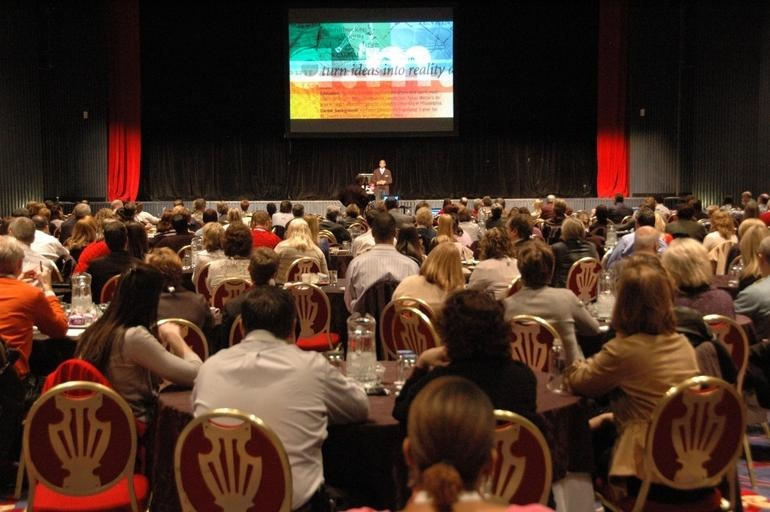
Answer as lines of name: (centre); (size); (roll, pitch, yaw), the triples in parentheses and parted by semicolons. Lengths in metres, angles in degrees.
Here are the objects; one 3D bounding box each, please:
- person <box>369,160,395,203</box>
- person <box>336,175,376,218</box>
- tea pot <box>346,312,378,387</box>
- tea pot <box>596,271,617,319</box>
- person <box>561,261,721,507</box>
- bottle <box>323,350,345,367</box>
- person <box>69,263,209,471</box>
person: (-0.091, -1.946, 16.541); (0.482, 1.436, 0.479); (-1, 27, -4)
person: (-1.025, -1.746, 15.583); (0.412, 0.758, 1.398); (16, 25, 24)
tea pot: (-0.139, 0.574, 3.515); (0.219, 0.449, 0.206); (1, 1, 0)
tea pot: (1.952, 0.330, 5.123); (0.152, 0.624, 0.145); (-10, 39, 9)
person: (1.350, 0.649, 3.179); (0.684, 1.277, 0.261); (1, 3, 25)
bottle: (-0.301, 0.594, 3.464); (0.099, 0.124, 0.104); (0, 2, 0)
person: (-1.503, 0.781, 3.525); (0.572, 1.374, 0.754); (9, 6, 29)
